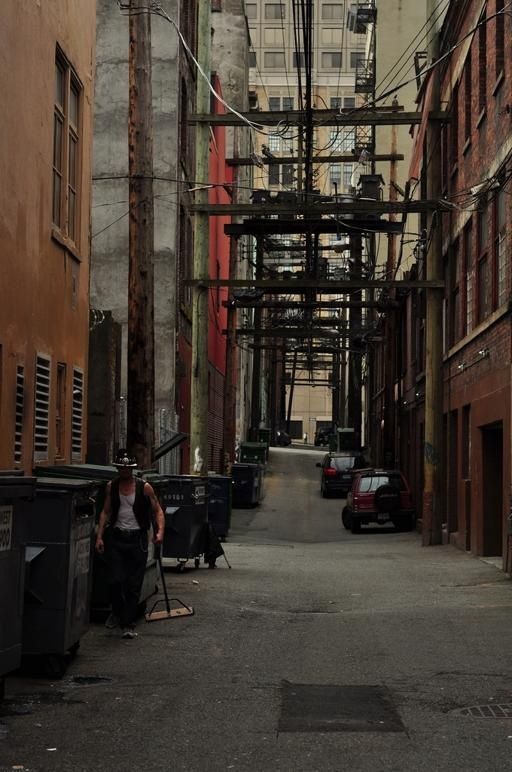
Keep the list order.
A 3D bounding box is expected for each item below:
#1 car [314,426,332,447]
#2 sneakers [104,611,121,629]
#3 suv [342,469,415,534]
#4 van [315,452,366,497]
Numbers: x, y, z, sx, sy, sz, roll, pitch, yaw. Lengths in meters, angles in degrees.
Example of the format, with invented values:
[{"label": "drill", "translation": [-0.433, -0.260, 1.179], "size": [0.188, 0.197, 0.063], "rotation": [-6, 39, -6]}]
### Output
[{"label": "car", "translation": [5.475, 4.158, 86.999], "size": [0.986, 1.594, 2.338], "rotation": [-1, -8, 8]}, {"label": "sneakers", "translation": [-1.329, 2.188, 9.702], "size": [0.071, 0.171, 0.293], "rotation": [1, -16, -3]}, {"label": "suv", "translation": [3.013, 2.798, 25.718], "size": [0.882, 1.200, 1.835], "rotation": [0, 1, 1]}, {"label": "van", "translation": [2.828, 3.003, 34.826], "size": [0.919, 1.266, 2.268], "rotation": [0, 3, 1]}]
